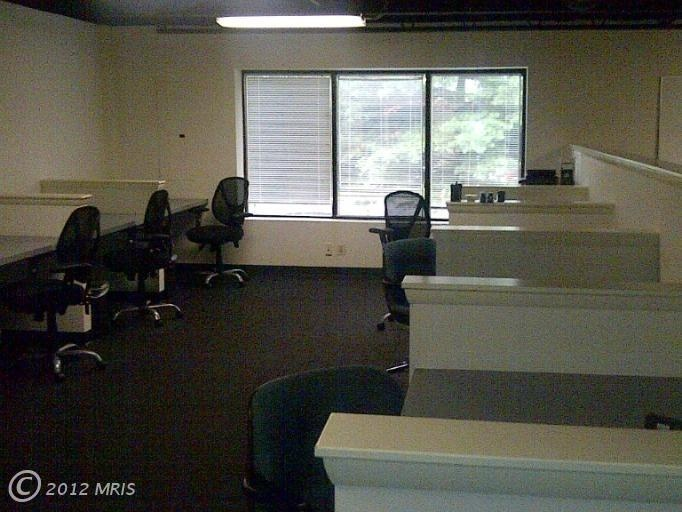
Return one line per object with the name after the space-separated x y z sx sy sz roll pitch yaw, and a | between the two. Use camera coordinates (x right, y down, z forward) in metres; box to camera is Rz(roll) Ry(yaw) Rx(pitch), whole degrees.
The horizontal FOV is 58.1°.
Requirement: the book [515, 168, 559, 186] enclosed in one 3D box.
1.667 -0.653 5.094 0.262 0.121 0.188 7 13 29 | book
